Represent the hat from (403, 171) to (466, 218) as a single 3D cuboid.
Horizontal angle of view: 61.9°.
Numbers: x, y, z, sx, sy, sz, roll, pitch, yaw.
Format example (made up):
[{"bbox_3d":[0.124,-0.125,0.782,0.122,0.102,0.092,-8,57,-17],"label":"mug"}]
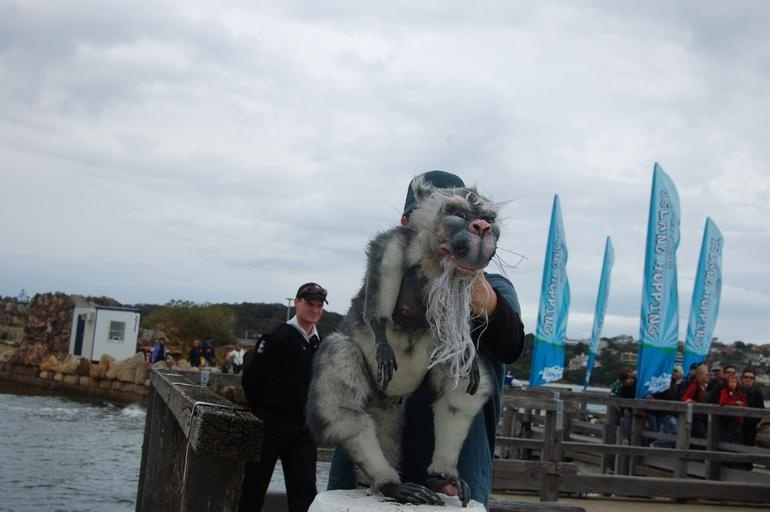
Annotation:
[{"bbox_3d":[0.317,-0.384,3.911,0.348,0.259,0.247,-9,-21,34],"label":"hat"}]
